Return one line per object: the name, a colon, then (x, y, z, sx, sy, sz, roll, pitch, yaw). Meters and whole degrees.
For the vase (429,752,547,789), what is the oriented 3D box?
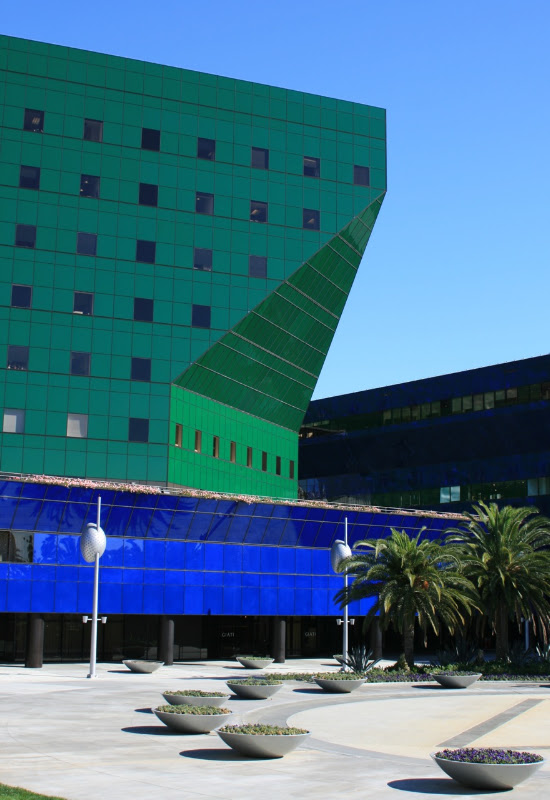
vase: (3.457, 6.035, 15.172, 1.693, 0.557, 1.176, -4, -15, 7)
